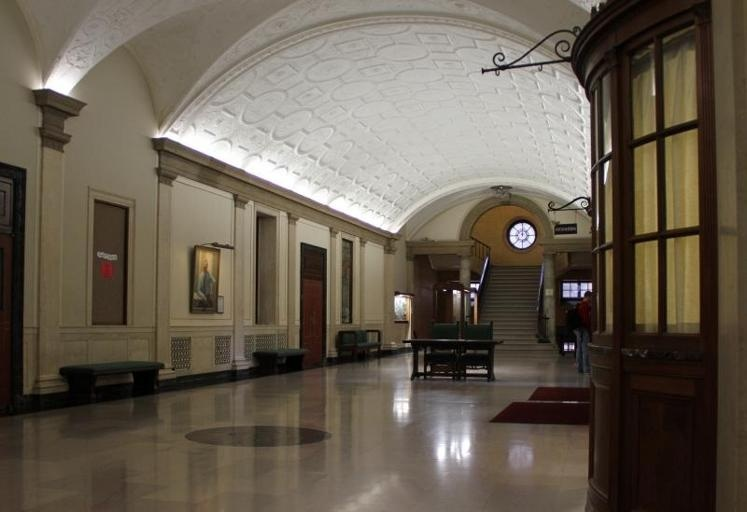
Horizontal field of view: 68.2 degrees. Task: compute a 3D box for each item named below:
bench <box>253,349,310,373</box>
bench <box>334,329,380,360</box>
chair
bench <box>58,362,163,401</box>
[{"bbox_3d":[-2.497,2.880,15.326,0.786,0.654,1.822,-3,-7,24],"label":"bench"},{"bbox_3d":[-0.358,3.252,20.690,1.170,1.067,4.426,-1,-6,10],"label":"bench"},{"bbox_3d":[2.162,2.342,13.612,2.196,1.734,1.386,-2,-12,15],"label":"chair"},{"bbox_3d":[-4.795,2.267,10.166,0.659,0.626,1.777,-3,-7,27],"label":"bench"}]
